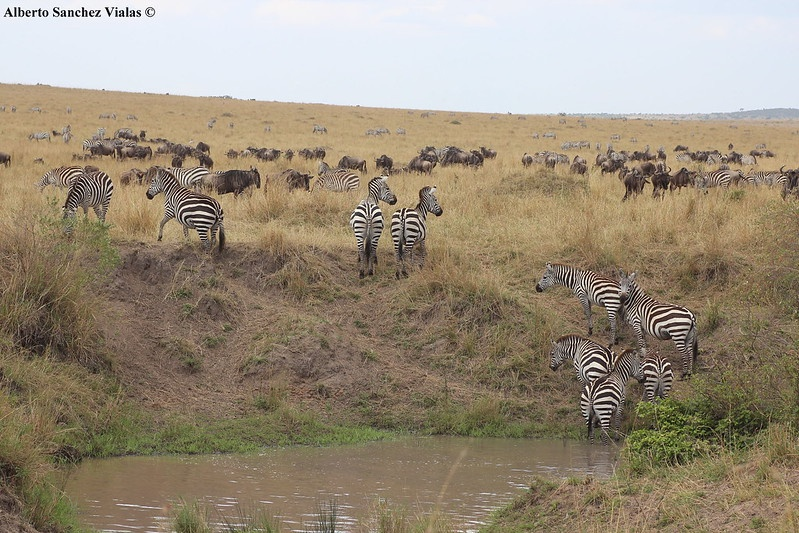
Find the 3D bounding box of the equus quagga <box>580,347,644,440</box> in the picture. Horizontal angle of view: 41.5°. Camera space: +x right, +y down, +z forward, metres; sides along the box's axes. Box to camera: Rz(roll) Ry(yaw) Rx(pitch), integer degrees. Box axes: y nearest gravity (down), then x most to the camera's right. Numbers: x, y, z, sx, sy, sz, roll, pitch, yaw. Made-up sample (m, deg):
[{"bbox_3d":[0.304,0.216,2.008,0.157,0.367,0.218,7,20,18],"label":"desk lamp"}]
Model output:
[{"bbox_3d":[4.626,2.834,23.076,0.713,1.874,2.397,7,11,36],"label":"equus quagga"}]
